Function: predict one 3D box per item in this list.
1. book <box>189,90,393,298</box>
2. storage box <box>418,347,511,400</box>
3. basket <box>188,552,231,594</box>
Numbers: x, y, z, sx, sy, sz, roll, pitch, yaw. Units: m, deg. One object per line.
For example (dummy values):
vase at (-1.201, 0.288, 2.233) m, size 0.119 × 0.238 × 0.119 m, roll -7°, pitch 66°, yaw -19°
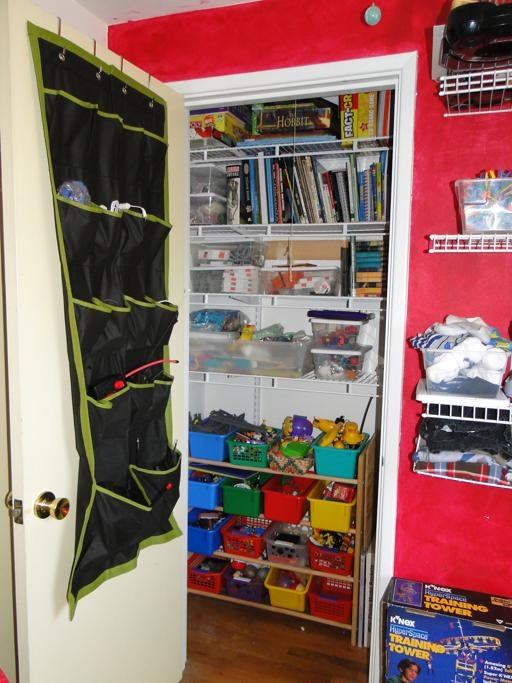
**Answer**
book at (0.154, -0.672, 2.456) m, size 0.942 × 0.803 × 0.317 m, roll 5°, pitch 10°, yaw 30°
storage box at (0.581, 0.084, 1.493) m, size 0.192 × 0.110 × 0.134 m, roll 2°, pitch 4°, yaw 20°
basket at (-0.238, 1.109, 2.615) m, size 0.154 × 0.074 × 0.207 m, roll 2°, pitch -1°, yaw 14°
